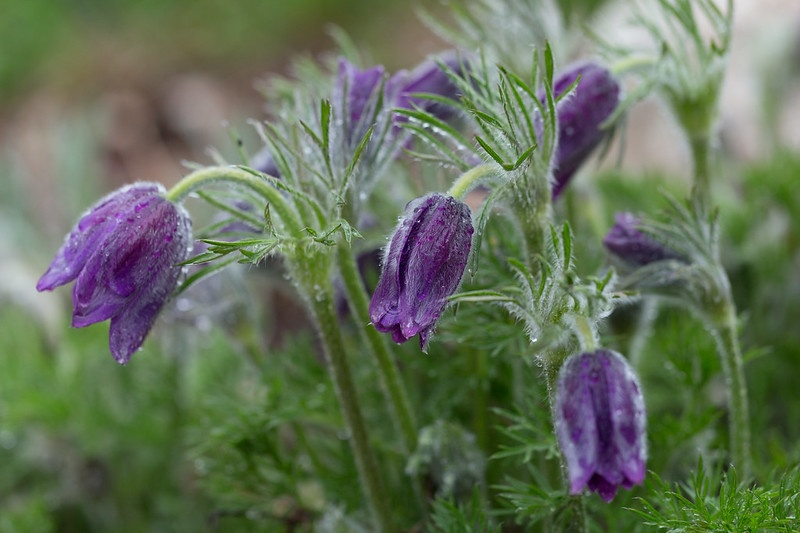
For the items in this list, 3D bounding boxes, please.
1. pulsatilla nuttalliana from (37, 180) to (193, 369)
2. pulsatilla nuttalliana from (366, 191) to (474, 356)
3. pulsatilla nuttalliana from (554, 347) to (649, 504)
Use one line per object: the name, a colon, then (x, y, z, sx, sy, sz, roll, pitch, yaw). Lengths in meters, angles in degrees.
pulsatilla nuttalliana: (-0.258, -0.014, 0.754, 0.103, 0.042, 0.131, 14, 40, 3)
pulsatilla nuttalliana: (0.017, 0.000, 0.717, 0.050, 0.096, 0.115, 1, 30, 46)
pulsatilla nuttalliana: (0.174, 0.134, 0.687, 0.069, 0.126, 0.042, -4, -9, 5)
